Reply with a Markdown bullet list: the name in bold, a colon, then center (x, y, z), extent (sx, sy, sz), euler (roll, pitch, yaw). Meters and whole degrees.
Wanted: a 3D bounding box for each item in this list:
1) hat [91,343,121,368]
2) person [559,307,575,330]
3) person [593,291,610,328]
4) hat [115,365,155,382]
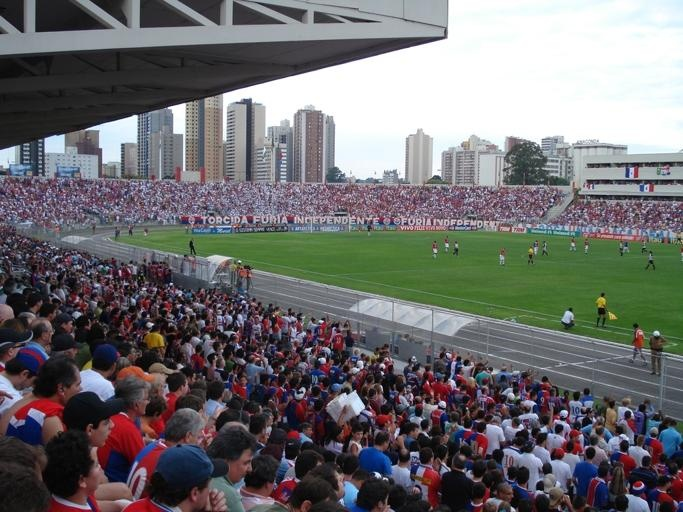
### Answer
- **hat**: center (-3.453, 1.459, 11.848), extent (0.259, 0.442, 0.196), euler (20, 29, 26)
- **person**: center (8.149, 2.190, 29.050), extent (0.475, 0.743, 1.227), euler (3, 7, 16)
- **person**: center (9.696, 1.886, 30.065), extent (0.406, 1.170, 1.796), euler (3, 7, 18)
- **hat**: center (-3.054, 1.735, 12.066), extent (0.498, 0.296, 0.322), euler (5, 10, -21)
